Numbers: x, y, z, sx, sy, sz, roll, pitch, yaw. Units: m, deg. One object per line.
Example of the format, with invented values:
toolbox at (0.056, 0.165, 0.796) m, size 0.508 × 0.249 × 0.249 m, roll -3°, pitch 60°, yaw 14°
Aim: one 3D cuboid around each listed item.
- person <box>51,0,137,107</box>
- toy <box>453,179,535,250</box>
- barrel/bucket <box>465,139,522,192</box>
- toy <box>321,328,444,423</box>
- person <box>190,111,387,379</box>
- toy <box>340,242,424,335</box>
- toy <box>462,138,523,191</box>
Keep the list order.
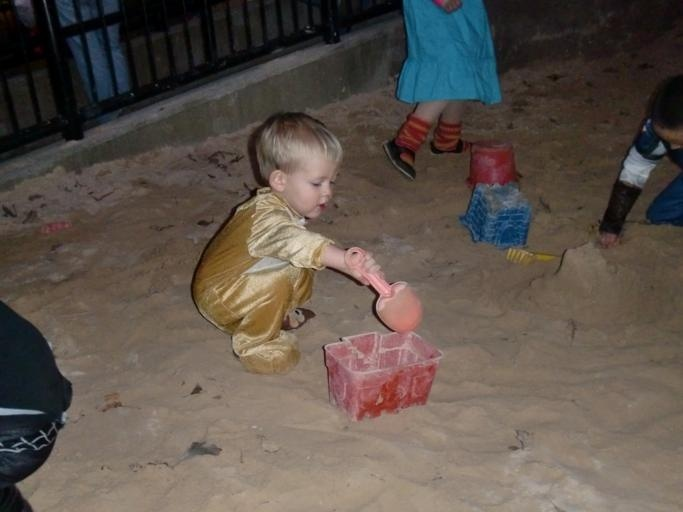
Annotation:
person at (-2.218, -1.857, 6.330) m, size 0.533 × 1.162 × 0.934 m, roll -14°, pitch 36°, yaw -15°
toy at (1.191, -0.336, 5.209) m, size 0.432 × 0.359 × 0.475 m, roll -4°, pitch 36°, yaw -5°
barrel/bucket at (1.202, -0.742, 5.519) m, size 0.397 × 0.313 × 0.409 m, roll -1°, pitch 21°, yaw 1°
toy at (0.202, 0.603, 3.767) m, size 0.579 × 0.338 × 0.416 m, roll -7°, pitch 41°, yaw -16°
person at (-0.398, -0.076, 4.092) m, size 0.883 × 1.444 × 1.544 m, roll 0°, pitch 11°, yaw -15°
toy at (0.237, 0.198, 3.777) m, size 0.255 × 0.241 × 0.557 m, roll -26°, pitch 41°, yaw -17°
toy at (1.165, -0.683, 5.530) m, size 0.430 × 0.321 × 0.428 m, roll 7°, pitch -2°, yaw -8°
